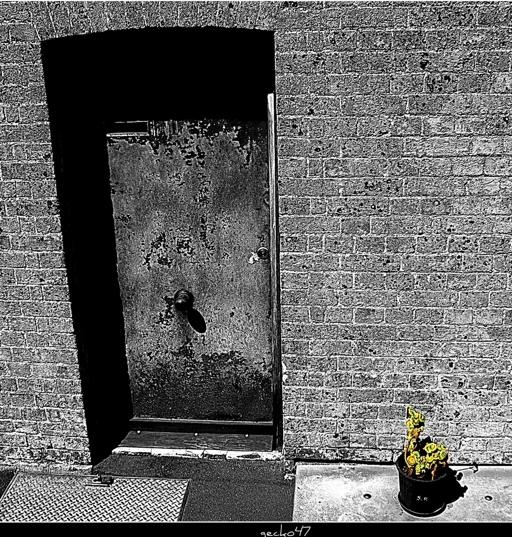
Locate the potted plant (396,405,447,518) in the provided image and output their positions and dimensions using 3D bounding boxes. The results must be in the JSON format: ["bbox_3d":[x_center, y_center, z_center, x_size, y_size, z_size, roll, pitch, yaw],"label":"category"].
[{"bbox_3d":[1.012,1.145,5.088,0.334,0.613,0.276,-1,9,-3],"label":"potted plant"}]
